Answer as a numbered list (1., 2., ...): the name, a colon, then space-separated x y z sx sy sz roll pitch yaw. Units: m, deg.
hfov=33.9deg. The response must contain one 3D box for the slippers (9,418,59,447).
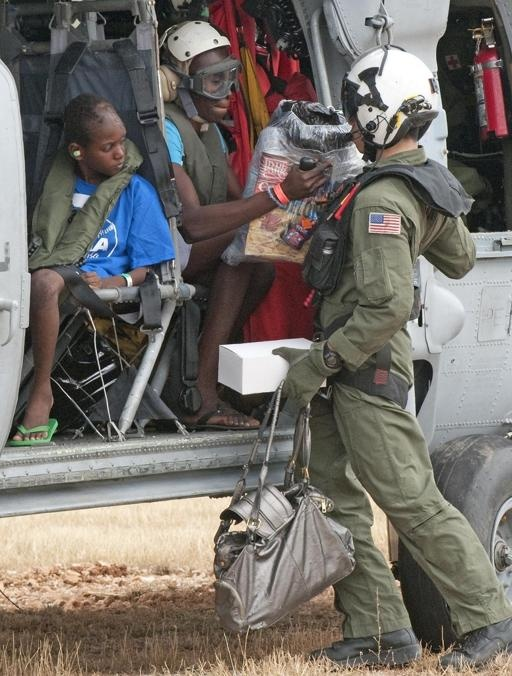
1. slippers: -0.719 0.302 2.693 0.146 0.073 0.227 2 -2 -14

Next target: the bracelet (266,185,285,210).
1. bracelet: 0.066 -0.488 2.877 0.028 0.065 0.058 -32 41 -4

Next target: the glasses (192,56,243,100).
1. glasses: -0.156 -0.994 3.181 0.191 0.169 0.050 2 -3 -23

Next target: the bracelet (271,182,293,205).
1. bracelet: 0.081 -0.500 2.878 0.029 0.069 0.066 -30 -5 -14

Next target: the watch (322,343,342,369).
1. watch: 0.215 0.050 2.468 0.038 0.062 0.053 -41 -33 24

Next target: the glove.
1. glove: 0.155 0.088 2.492 0.220 0.193 0.102 -34 -22 36

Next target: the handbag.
1. handbag: 0.064 0.624 2.460 0.441 0.366 0.204 3 -3 -38

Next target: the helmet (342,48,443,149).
1. helmet: 0.418 -0.729 2.625 0.305 0.318 0.298 3 18 14

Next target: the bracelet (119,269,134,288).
1. bracelet: -0.434 -0.202 2.836 0.042 0.045 0.057 -3 2 -28

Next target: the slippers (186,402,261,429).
1. slippers: -0.122 0.292 3.115 0.262 0.079 0.142 -1 7 -5
